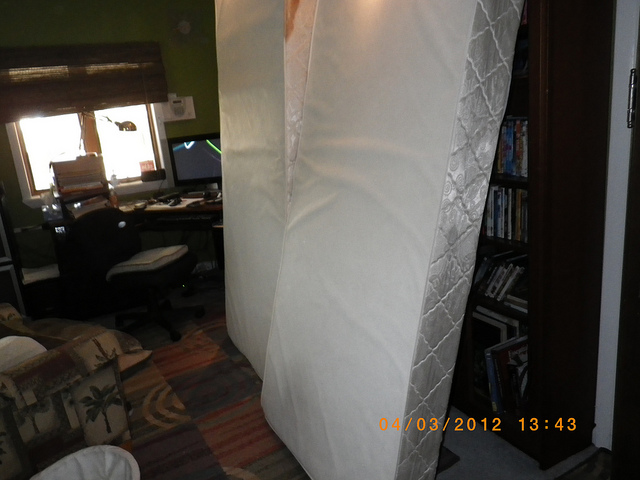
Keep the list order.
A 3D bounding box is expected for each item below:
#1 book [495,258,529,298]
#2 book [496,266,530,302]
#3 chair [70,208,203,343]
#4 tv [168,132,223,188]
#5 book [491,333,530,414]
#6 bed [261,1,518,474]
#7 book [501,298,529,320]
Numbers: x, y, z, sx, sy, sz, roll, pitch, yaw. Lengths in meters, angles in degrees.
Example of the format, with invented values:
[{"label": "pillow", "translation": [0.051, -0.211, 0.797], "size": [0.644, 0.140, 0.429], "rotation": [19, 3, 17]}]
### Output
[{"label": "book", "translation": [0.908, 0.182, 2.205], "size": [0.062, 0.180, 0.033], "rotation": [11, 21, -17]}, {"label": "book", "translation": [0.922, 0.216, 2.236], "size": [0.120, 0.178, 0.045], "rotation": [6, 11, -26]}, {"label": "chair", "translation": [-1.422, 0.228, 3.646], "size": [0.687, 1.046, 0.691], "rotation": [-1, 13, 13]}, {"label": "tv", "translation": [-1.170, -0.758, 4.403], "size": [0.616, 0.518, 0.069], "rotation": [-4, 18, -4]}, {"label": "book", "translation": [0.909, 0.630, 2.196], "size": [0.077, 0.343, 0.321], "rotation": [0, 14, -7]}, {"label": "bed", "translation": [0.198, 0.004, 1.852], "size": [0.595, 1.964, 1.000], "rotation": [-15, 14, -35]}, {"label": "book", "translation": [0.920, 0.310, 2.177], "size": [0.064, 0.021, 0.098], "rotation": [-15, 30, -34]}]
